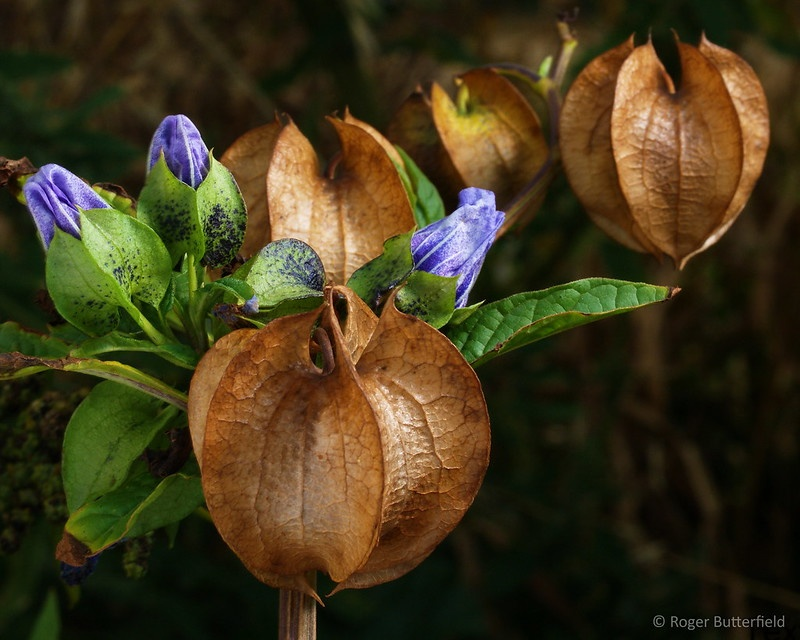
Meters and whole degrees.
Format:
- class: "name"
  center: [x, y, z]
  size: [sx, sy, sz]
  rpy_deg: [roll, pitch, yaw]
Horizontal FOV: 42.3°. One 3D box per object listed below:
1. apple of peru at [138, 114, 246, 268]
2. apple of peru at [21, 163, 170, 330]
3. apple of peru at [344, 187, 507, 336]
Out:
- class: "apple of peru"
  center: [-0.188, -0.112, 0.901]
  size: [0.084, 0.150, 0.042]
  rpy_deg: [11, 34, 22]
- class: "apple of peru"
  center: [-0.269, -0.043, 0.900]
  size: [0.099, 0.064, 0.155]
  rpy_deg: [-31, 89, -38]
- class: "apple of peru"
  center: [0.035, -0.049, 0.893]
  size: [0.153, 0.067, 0.081]
  rpy_deg: [-38, 78, -19]
